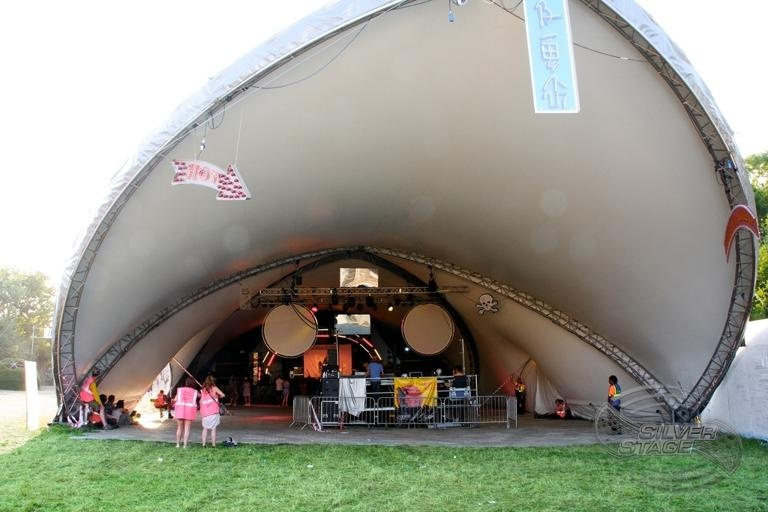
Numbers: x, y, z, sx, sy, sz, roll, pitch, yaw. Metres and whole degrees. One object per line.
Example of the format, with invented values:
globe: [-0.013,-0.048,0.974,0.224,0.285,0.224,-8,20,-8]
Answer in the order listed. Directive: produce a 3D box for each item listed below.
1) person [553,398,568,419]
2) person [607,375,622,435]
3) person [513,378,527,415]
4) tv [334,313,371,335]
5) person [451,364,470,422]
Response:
person: [7.136,6.237,22.744,0.655,1.007,0.523,1,-16,4]
person: [7.366,4.748,17.854,0.412,1.716,1.749,-6,-12,21]
person: [6.269,6.365,25.535,0.444,1.564,0.398,0,-11,-8]
tv: [-1.391,3.013,24.837,1.408,0.899,0.792,-3,-11,6]
person: [2.736,4.988,20.086,0.572,1.937,0.642,-2,-11,5]
